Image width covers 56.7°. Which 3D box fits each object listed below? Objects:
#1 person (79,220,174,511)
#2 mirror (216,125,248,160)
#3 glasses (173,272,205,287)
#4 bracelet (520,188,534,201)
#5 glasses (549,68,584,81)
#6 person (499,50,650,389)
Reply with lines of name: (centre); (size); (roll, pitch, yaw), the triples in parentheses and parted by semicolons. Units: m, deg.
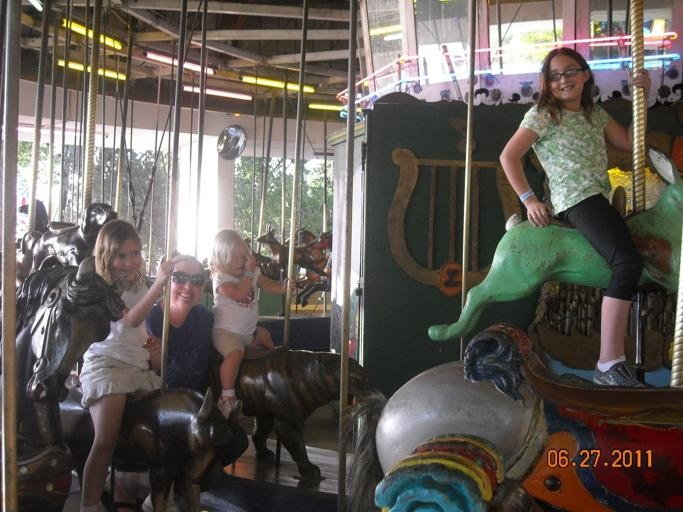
person: (-1.181, 0.656, 3.431); (0.437, 1.694, 0.687); (-1, 2, -24)
mirror: (-1.835, -1.934, 10.743); (0.309, 0.563, 1.058); (-1, 3, -25)
glasses: (-0.885, 0.136, 3.675); (0.185, 0.096, 0.090); (-1, 3, -19)
bracelet: (0.815, -0.264, 2.761); (0.048, 0.020, 0.051); (-38, -10, 0)
glasses: (0.975, -0.780, 2.769); (0.119, 0.051, 0.022); (0, 2, 11)
person: (1.027, -0.199, 2.773); (0.592, 1.415, 0.544); (1, 2, 32)
